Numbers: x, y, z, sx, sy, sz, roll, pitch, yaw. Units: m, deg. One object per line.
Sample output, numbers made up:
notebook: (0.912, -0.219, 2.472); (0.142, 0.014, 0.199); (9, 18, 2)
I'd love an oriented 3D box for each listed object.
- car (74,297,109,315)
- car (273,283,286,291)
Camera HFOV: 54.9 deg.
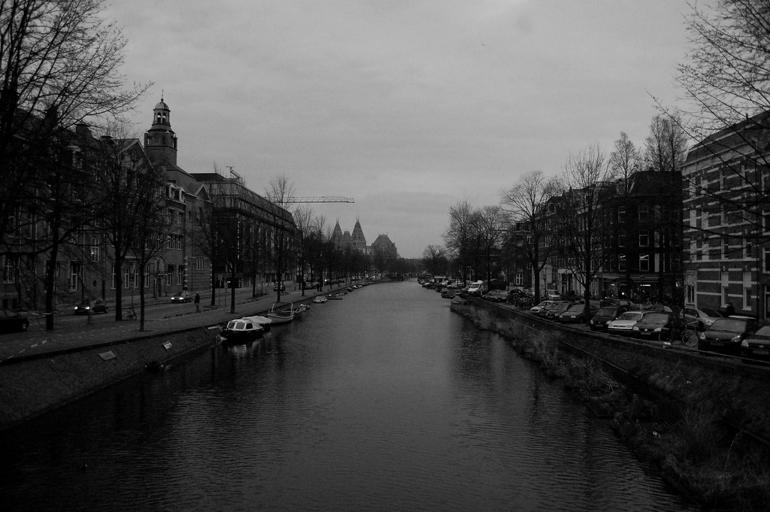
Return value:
car: (-24.192, 4.073, 60.971); (1.185, 0.991, 2.788); (-1, -9, 10)
car: (-14.416, 4.166, 101.270); (1.258, 1.228, 2.236); (2, 3, 10)
